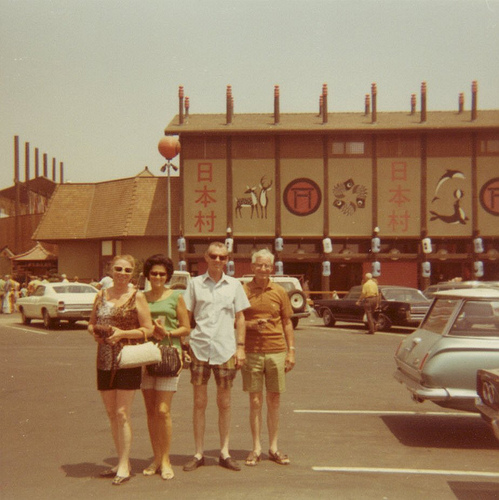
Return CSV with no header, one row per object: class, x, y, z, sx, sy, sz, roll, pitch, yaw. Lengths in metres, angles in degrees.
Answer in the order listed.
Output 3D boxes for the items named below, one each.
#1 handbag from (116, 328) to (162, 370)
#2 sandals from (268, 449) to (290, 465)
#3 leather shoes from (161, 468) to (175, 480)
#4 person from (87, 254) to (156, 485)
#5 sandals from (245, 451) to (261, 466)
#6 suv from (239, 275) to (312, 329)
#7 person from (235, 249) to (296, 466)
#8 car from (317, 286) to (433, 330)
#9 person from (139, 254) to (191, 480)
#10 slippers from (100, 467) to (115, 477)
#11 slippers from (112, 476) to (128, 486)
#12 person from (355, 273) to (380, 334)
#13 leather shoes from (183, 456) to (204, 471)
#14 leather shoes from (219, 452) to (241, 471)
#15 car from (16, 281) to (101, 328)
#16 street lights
handbag,-1.083,0.892,10.513,0.473,0.508,0.201,-2,-16,-16
sandals,0.297,2.124,10.869,0.156,0.129,0.364,2,-2,-41
leather shoes,-0.797,2.200,10.433,0.130,0.101,0.241,1,-1,-4
person,-1.287,1.156,10.533,0.601,2.215,0.563,2,-2,-45
sandals,0.039,2.132,10.830,0.141,0.127,0.273,1,-1,0
suv,0.961,1.276,26.890,1.152,1.115,1.963,-1,1,-5
person,0.144,1.129,11.130,0.620,2.064,0.754,3,5,-8
car,3.233,1.424,25.621,1.025,0.790,2.558,0,-1,-23
person,-0.865,1.173,10.727,0.454,2.215,0.511,0,-3,-7
slippers,-1.374,2.213,10.486,0.174,0.140,0.063,-1,-12,17
slippers,-1.233,2.226,10.204,0.110,0.039,0.073,-1,4,17
person,2.797,1.214,24.554,0.376,1.408,0.471,0,4,43
leather shoes,-0.554,2.172,10.688,0.082,0.114,0.256,-6,-6,32
leather shoes,-0.193,2.152,10.651,0.093,0.117,0.257,1,-5,-32
car,-4.835,1.344,26.732,1.802,1.413,4.562,1,0,-22
street lights,-3.015,-2.001,40.517,0.691,4.609,0.778,0,1,21
